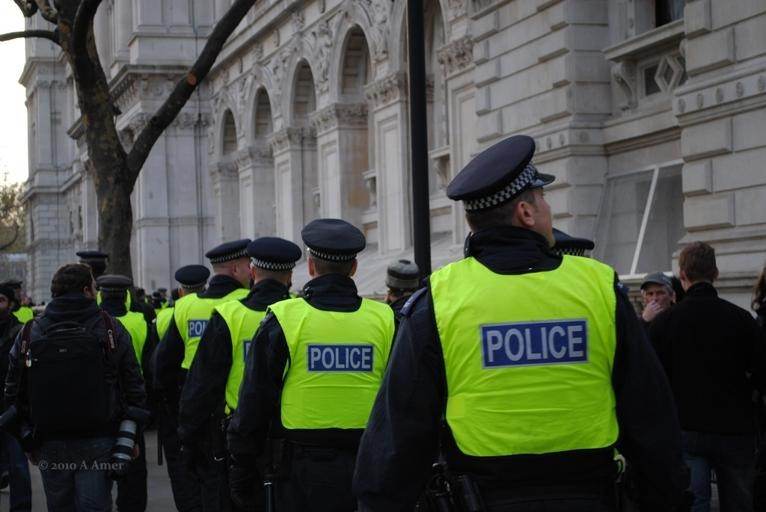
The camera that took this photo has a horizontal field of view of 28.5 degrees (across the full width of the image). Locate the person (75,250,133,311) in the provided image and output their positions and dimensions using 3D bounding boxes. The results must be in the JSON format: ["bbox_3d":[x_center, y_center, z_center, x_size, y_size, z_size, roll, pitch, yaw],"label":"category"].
[{"bbox_3d":[-4.046,0.460,21.389,0.496,1.061,0.450,-9,-24,-10],"label":"person"}]
